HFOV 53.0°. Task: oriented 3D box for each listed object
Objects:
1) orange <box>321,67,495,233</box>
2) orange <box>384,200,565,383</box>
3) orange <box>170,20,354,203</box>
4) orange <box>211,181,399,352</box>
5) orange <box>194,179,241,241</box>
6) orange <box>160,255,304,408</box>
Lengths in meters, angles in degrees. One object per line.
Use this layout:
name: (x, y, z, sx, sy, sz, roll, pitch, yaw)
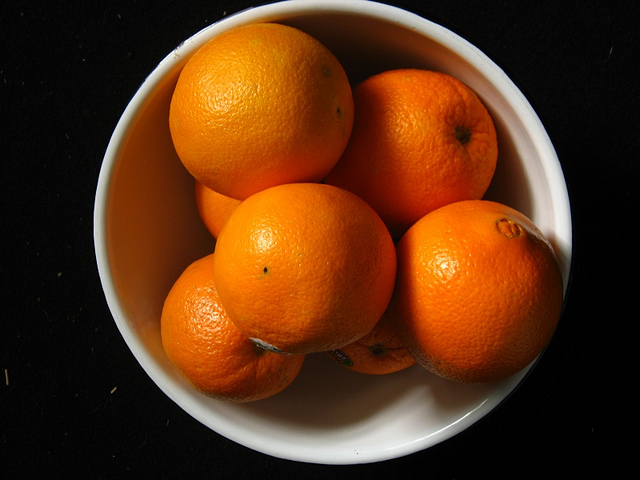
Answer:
orange: (0.162, -0.164, 1.035, 0.239, 0.212, 0.258, 39, 119, 60)
orange: (0.228, 0.070, 1.002, 0.221, 0.235, 0.263, 11, 71, -6)
orange: (-0.078, -0.182, 1.024, 0.247, 0.235, 0.254, -21, 70, 0)
orange: (-0.023, 0.033, 0.886, 0.224, 0.223, 0.246, -10, 58, -7)
orange: (-0.165, -0.052, 1.061, 0.075, 0.083, 0.112, 7, 104, 19)
orange: (-0.152, 0.133, 1.053, 0.191, 0.224, 0.240, 14, 105, 31)
